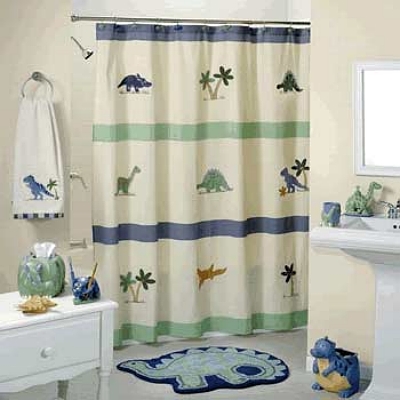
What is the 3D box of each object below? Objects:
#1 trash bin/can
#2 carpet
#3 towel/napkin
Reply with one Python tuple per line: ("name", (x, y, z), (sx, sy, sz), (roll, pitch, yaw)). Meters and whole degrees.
("trash bin/can", (0.709, 0.848, 2.499), (0.289, 0.284, 0.168), (0, 5, 3))
("carpet", (0.034, 0.958, 2.722), (0.953, 0.028, 0.480), (-2, 6, -14))
("towel/napkin", (-0.891, -0.204, 2.648), (0.164, 0.954, 0.389), (0, 0, 29))
